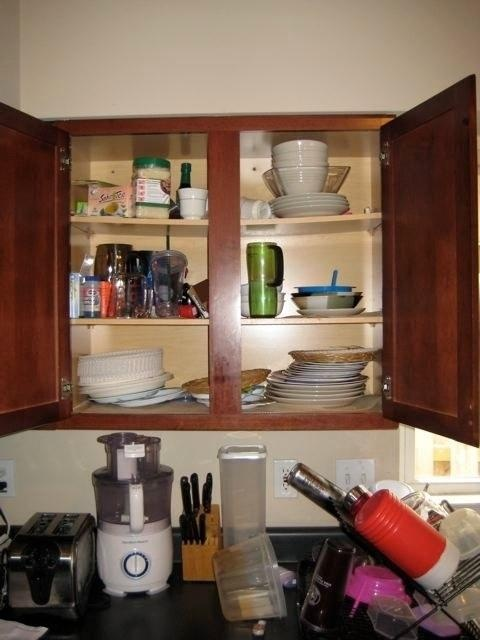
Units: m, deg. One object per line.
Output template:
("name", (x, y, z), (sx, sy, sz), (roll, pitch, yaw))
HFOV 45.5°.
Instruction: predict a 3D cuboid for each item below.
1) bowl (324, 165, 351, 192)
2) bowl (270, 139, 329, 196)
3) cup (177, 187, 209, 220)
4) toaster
("bowl", (0.251, -0.370, 1.538), (0.077, 0.076, 0.068), (0, -3, -3))
("bowl", (0.155, -0.392, 1.527), (0.152, 0.122, 0.135), (-2, 6, 20))
("cup", (-0.121, -0.298, 1.466), (0.081, 0.070, 0.080), (0, 2, 0))
("toaster", (-0.426, 0.570, 1.321), (0.136, 0.139, 0.245), (1, -10, -6))
